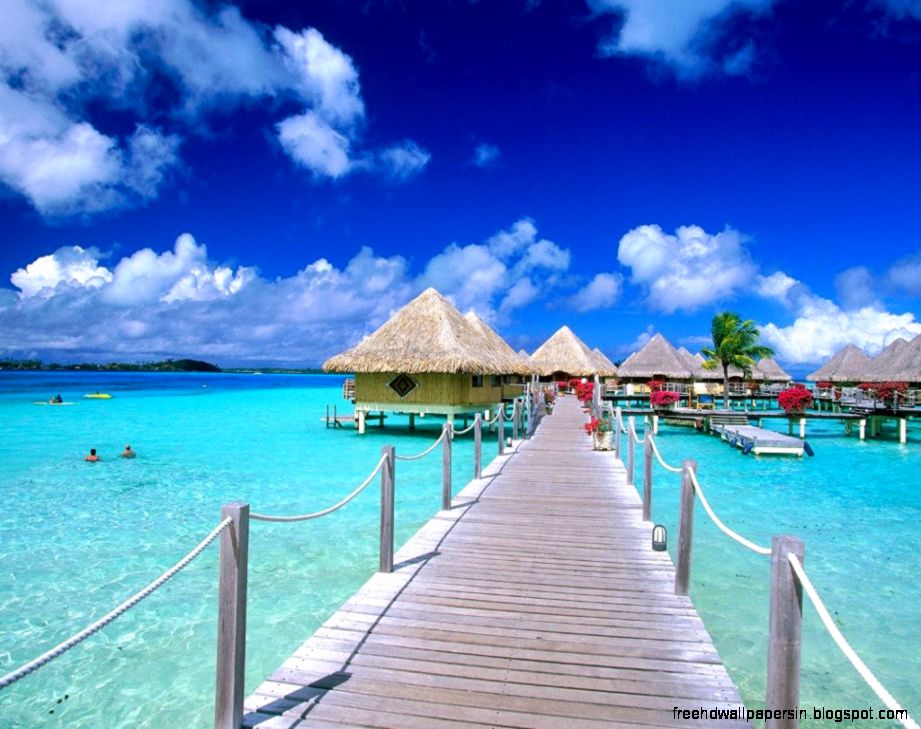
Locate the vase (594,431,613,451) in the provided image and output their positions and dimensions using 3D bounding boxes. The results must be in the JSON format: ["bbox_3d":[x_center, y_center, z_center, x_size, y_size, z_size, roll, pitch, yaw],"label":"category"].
[{"bbox_3d":[3.651,2.008,15.625,0.447,0.373,0.473,0,-4,5],"label":"vase"}]
